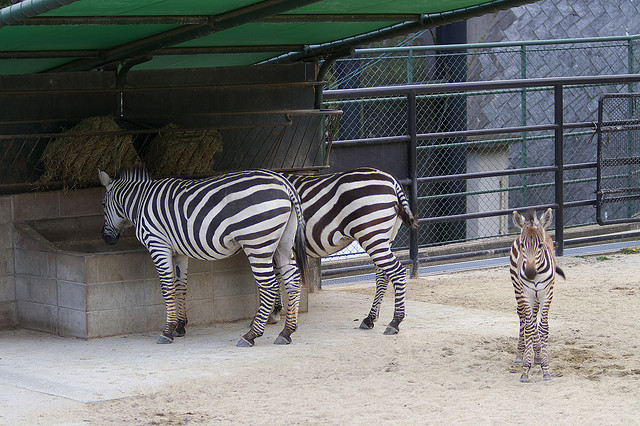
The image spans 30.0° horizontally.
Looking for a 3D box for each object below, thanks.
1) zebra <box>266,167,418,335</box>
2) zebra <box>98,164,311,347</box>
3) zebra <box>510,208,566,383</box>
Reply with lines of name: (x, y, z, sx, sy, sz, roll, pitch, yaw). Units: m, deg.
zebra: (-0.084, 0.394, 13.435, 2.820, 2.032, 0.761, -6, -8, 35)
zebra: (-1.341, 0.456, 12.918, 2.800, 1.903, 0.823, 0, 2, 30)
zebra: (2.005, 0.777, 11.321, 0.438, 1.631, 0.757, 1, 1, 9)
